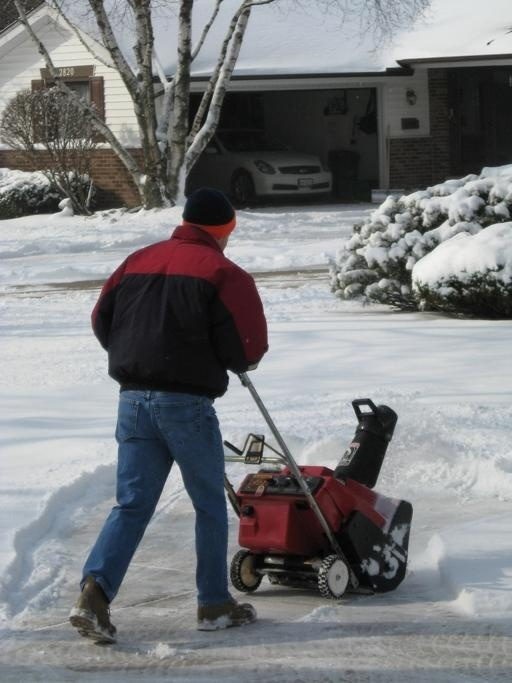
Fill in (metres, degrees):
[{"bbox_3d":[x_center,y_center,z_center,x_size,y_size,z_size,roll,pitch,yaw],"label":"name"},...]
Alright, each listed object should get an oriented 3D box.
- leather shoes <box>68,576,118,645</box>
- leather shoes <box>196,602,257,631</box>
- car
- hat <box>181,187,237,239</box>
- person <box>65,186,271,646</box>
[{"bbox_3d":[-0.508,0.859,2.682,0.090,0.228,0.153,-1,7,11],"label":"leather shoes"},{"bbox_3d":[-0.101,0.931,2.971,0.211,0.092,0.078,-7,10,-28],"label":"leather shoes"},{"bbox_3d":[-0.060,-4.373,21.287,2.228,1.444,4.546,-8,17,-37],"label":"car"},{"bbox_3d":[-0.163,-0.445,3.028,0.163,0.158,0.194,-1,13,4],"label":"hat"},{"bbox_3d":[-0.311,0.248,2.852,0.677,1.494,0.495,-4,7,-13],"label":"person"}]
